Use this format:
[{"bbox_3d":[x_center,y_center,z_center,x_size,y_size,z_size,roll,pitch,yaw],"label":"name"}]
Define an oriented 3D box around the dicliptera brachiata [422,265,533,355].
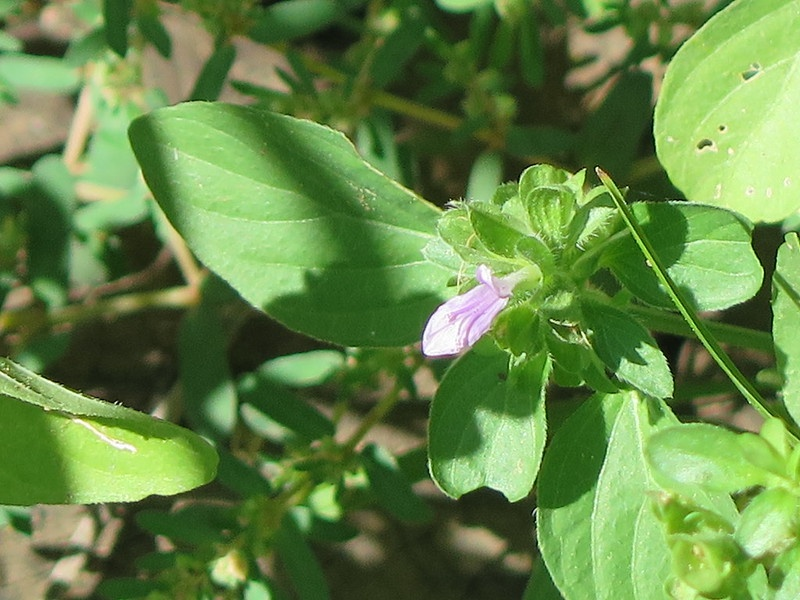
[{"bbox_3d":[0.133,0.016,1.417,0.162,0.079,0.055,-37,87,9],"label":"dicliptera brachiata"}]
